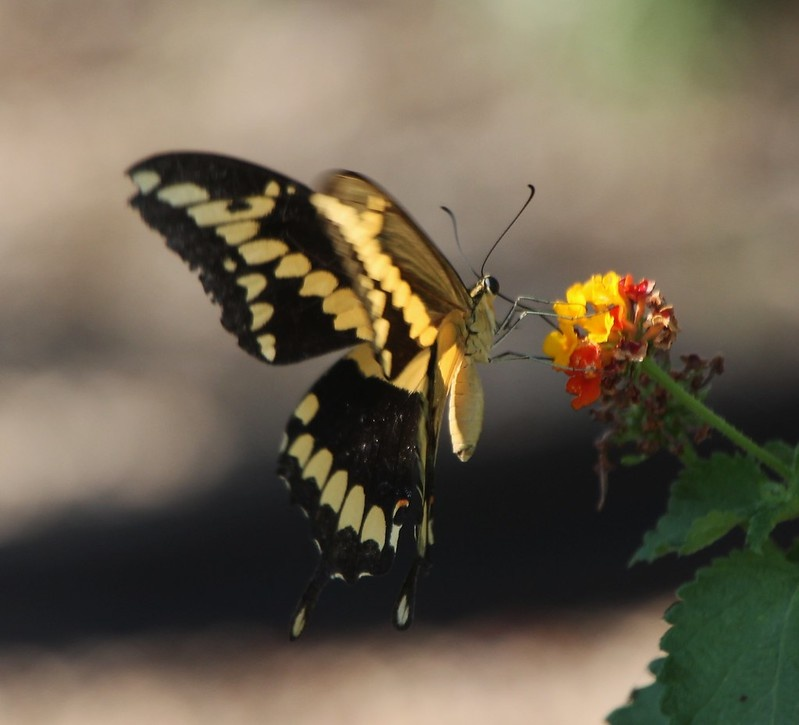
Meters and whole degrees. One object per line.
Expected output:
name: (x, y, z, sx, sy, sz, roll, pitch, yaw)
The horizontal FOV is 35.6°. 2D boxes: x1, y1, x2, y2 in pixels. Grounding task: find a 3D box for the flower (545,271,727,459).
flower: (0.687, 0.018, 3.657, 0.446, 0.520, 0.393, 29, -51, -36)
